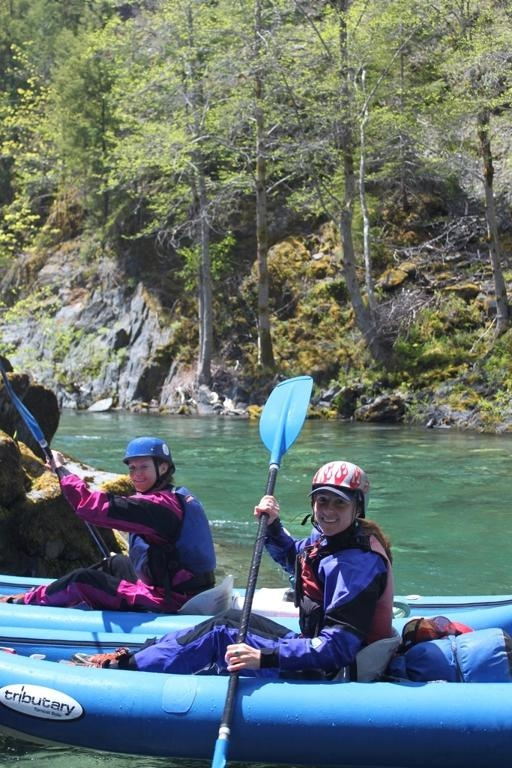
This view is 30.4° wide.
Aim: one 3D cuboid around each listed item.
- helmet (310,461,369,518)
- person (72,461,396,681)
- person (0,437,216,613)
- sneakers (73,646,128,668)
[{"bbox_3d":[0.352,0.415,3.872,0.188,0.193,0.263,5,9,18],"label":"helmet"},{"bbox_3d":[-0.064,0.821,3.971,1.348,0.964,0.718,1,-1,3],"label":"person"},{"bbox_3d":[-0.732,0.736,4.842,1.032,0.841,0.732,1,-5,7],"label":"person"},{"bbox_3d":[-0.676,1.244,4.227,0.157,0.065,0.125,-5,-11,13],"label":"sneakers"}]
